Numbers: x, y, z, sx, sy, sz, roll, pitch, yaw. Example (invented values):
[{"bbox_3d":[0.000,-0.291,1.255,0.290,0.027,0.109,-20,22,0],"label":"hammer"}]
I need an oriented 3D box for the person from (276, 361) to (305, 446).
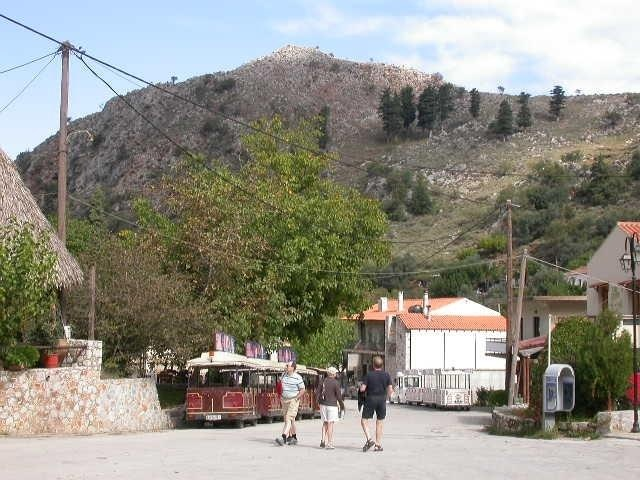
[{"bbox_3d":[-1.332,7.670,62.529,1.131,3.977,1.036,-1,-6,-2],"label":"person"}]

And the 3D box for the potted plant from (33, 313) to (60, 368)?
[{"bbox_3d":[-13.931,5.201,67.187,1.270,2.992,1.621,15,-30,-36],"label":"potted plant"}]

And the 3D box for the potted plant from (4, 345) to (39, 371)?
[{"bbox_3d":[-14.838,5.733,65.718,1.124,1.033,1.286,4,-12,-8],"label":"potted plant"}]
